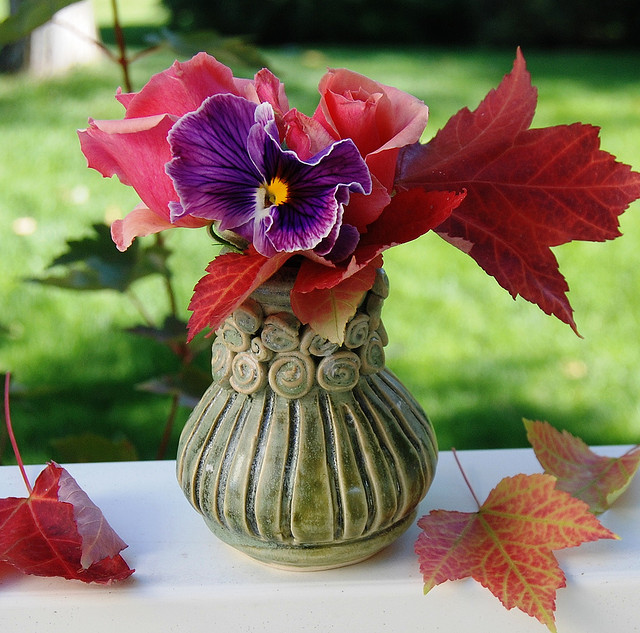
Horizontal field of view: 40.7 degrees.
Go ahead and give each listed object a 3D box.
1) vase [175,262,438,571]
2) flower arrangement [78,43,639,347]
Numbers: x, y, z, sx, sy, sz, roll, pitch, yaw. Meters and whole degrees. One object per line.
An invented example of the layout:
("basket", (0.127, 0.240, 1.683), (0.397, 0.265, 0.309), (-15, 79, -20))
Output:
("vase", (0.014, 0.109, 0.900), (0.316, 0.239, 0.271), (-8, 8, -6))
("flower arrangement", (0.072, -0.089, 0.816), (0.405, 0.148, 0.338), (-27, 43, -12))
